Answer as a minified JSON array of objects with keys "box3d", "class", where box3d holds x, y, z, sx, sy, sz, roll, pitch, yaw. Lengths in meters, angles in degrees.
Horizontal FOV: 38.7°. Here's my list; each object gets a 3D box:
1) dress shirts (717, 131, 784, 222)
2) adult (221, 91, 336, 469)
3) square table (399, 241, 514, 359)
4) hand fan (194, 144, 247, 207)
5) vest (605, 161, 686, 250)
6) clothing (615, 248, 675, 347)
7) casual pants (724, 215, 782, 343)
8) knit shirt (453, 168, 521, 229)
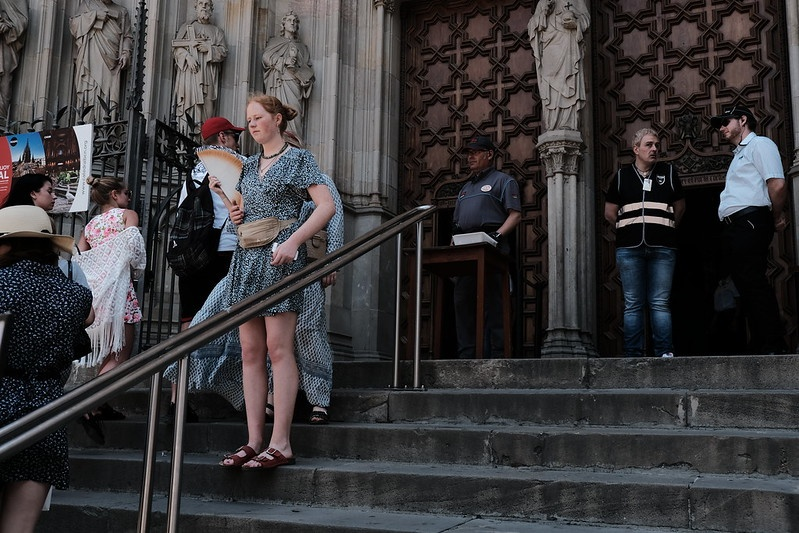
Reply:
[{"box3d":[3.131,-0.795,10.338,0.505,0.793,0.864,2,-9,-2],"class":"dress shirts"},{"box3d":[-0.987,0.033,8.589,0.952,2.836,0.770,-11,-14,37],"class":"adult"},{"box3d":[0.567,0.319,10.687,0.953,0.934,0.935,-3,-5,33],"class":"square table"},{"box3d":[-1.343,-0.705,8.789,0.328,0.450,0.144,-13,-1,-9],"class":"hand fan"},{"box3d":[2.278,-0.585,10.655,0.715,0.764,0.459,1,9,17],"class":"vest"},{"box3d":[2.284,0.326,10.477,0.384,1.003,0.663,3,-2,-39],"class":"clothing"},{"box3d":[3.096,0.120,10.031,0.516,1.274,0.266,1,-2,14],"class":"casual pants"},{"box3d":[0.900,-0.659,11.387,0.637,0.522,0.359,-8,-26,42],"class":"knit shirt"}]
